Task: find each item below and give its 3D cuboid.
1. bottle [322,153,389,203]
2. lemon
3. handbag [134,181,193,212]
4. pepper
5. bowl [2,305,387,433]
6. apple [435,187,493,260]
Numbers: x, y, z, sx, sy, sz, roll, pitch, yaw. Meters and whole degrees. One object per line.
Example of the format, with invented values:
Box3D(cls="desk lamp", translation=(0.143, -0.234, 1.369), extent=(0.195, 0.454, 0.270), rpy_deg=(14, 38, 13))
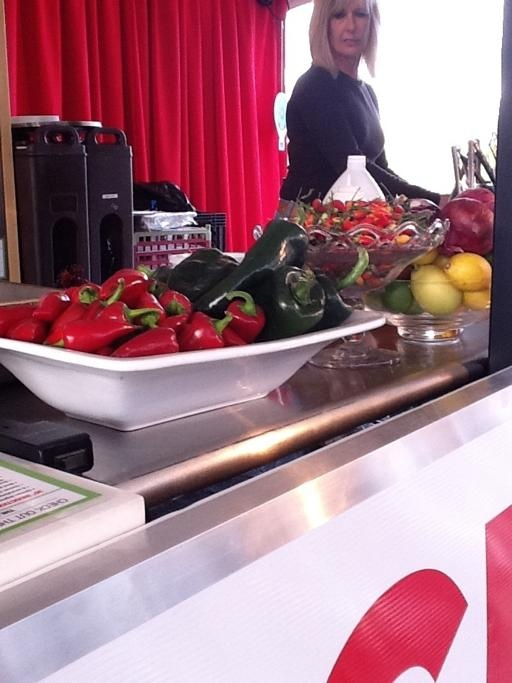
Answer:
Box3D(cls="bottle", translation=(0.157, -0.246, 0.831), extent=(0.112, 0.097, 0.110), rpy_deg=(-15, 22, -38))
Box3D(cls="lemon", translation=(0.275, -0.085, 0.735), extent=(0.108, 0.081, 0.136), rpy_deg=(-11, 18, -40))
Box3D(cls="handbag", translation=(-0.494, -0.785, 2.778), extent=(0.296, 0.176, 0.385), rpy_deg=(11, 21, 32))
Box3D(cls="pepper", translation=(-0.091, -0.041, 0.516), extent=(0.242, 0.133, 0.318), rpy_deg=(2, 12, 34))
Box3D(cls="bowl", translation=(-0.027, 0.024, 0.450), extent=(0.355, 0.081, 0.154), rpy_deg=(-2, 10, -25))
Box3D(cls="apple", translation=(0.268, -0.157, 0.685), extent=(0.049, 0.086, 0.064), rpy_deg=(2, 20, 5))
